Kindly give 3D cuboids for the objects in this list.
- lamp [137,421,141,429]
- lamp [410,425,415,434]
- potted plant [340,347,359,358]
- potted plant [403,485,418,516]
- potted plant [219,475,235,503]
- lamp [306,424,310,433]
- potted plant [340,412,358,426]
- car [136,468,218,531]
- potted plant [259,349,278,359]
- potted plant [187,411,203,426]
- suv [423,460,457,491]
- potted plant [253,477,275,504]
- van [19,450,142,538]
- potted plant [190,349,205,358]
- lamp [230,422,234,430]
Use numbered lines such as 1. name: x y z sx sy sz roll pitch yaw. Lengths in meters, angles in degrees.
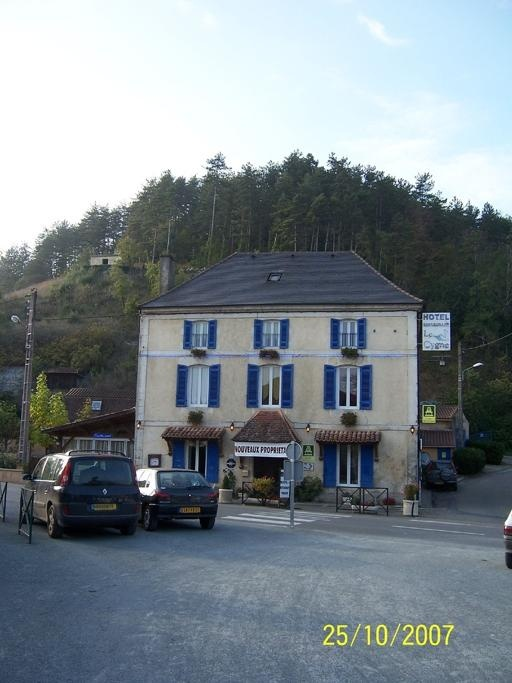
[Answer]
1. lamp: -4.923 3.532 30.867 0.192 0.258 0.078 3 1 -3
2. lamp: 6.054 3.355 27.833 0.261 0.324 0.253 -2 2 2
3. potted plant: 3.776 0.463 28.899 0.495 0.367 0.467 8 -4 -44
4. potted plant: 5.139 5.220 24.047 0.473 0.973 1.566 -1 -7 11
5. potted plant: -1.042 5.345 26.709 0.526 1.006 1.137 1 -7 -3
6. lamp: 2.118 3.438 28.833 0.170 0.342 0.179 1 -7 -2
7. potted plant: 3.674 3.018 28.344 0.571 0.446 0.580 5 4 31
8. car: -1.651 3.267 15.246 1.098 0.770 1.858 2 -6 -19
9. potted plant: 0.529 0.533 29.925 0.833 0.407 0.258 -2 -7 23
10. potted plant: -2.453 3.154 29.924 0.636 0.545 0.594 0 5 -2
11. suv: 9.478 6.845 37.154 1.423 1.402 2.135 0 -7 6
12. potted plant: 0.363 5.472 27.035 0.705 0.878 0.771 -1 -2 -8
13. van: -3.202 2.712 13.386 1.351 0.939 2.148 4 -7 -24
14. potted plant: -2.371 0.489 30.679 0.412 0.403 0.143 -1 6 6
15. lamp: -0.932 3.466 29.754 0.216 0.352 0.052 -2 -8 24
